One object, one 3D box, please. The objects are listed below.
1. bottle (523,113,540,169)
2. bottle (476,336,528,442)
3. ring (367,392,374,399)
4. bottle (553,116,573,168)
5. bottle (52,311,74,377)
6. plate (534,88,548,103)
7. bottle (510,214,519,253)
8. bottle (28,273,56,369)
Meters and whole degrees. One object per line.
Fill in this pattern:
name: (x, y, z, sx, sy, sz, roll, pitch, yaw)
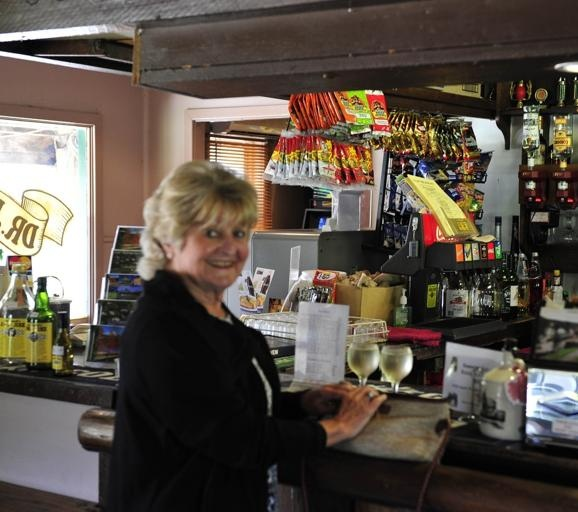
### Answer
bottle: (1.936, -0.926, 4.351, 0.126, 0.469, 0.248, -1, -1, 25)
bottle: (0.607, 0.374, 1.543, 0.125, 0.278, 0.085, -1, -1, 12)
ring: (0.228, 0.389, 1.522, 0.014, 0.007, 0.013, 1, 0, 0)
bottle: (2.165, -0.911, 4.345, 0.139, 0.467, 0.339, -1, -1, 26)
bottle: (-0.922, 0.355, 2.214, 0.082, 0.260, 0.104, 0, -1, -9)
plate: (2.055, -1.305, 4.458, 0.121, 0.106, 0.027, 0, -1, 36)
bottle: (1.903, -0.185, 4.602, 0.076, 0.333, 0.392, -1, -1, 23)
bottle: (-1.032, 0.285, 2.278, 0.115, 0.393, 0.112, -1, -1, 0)
